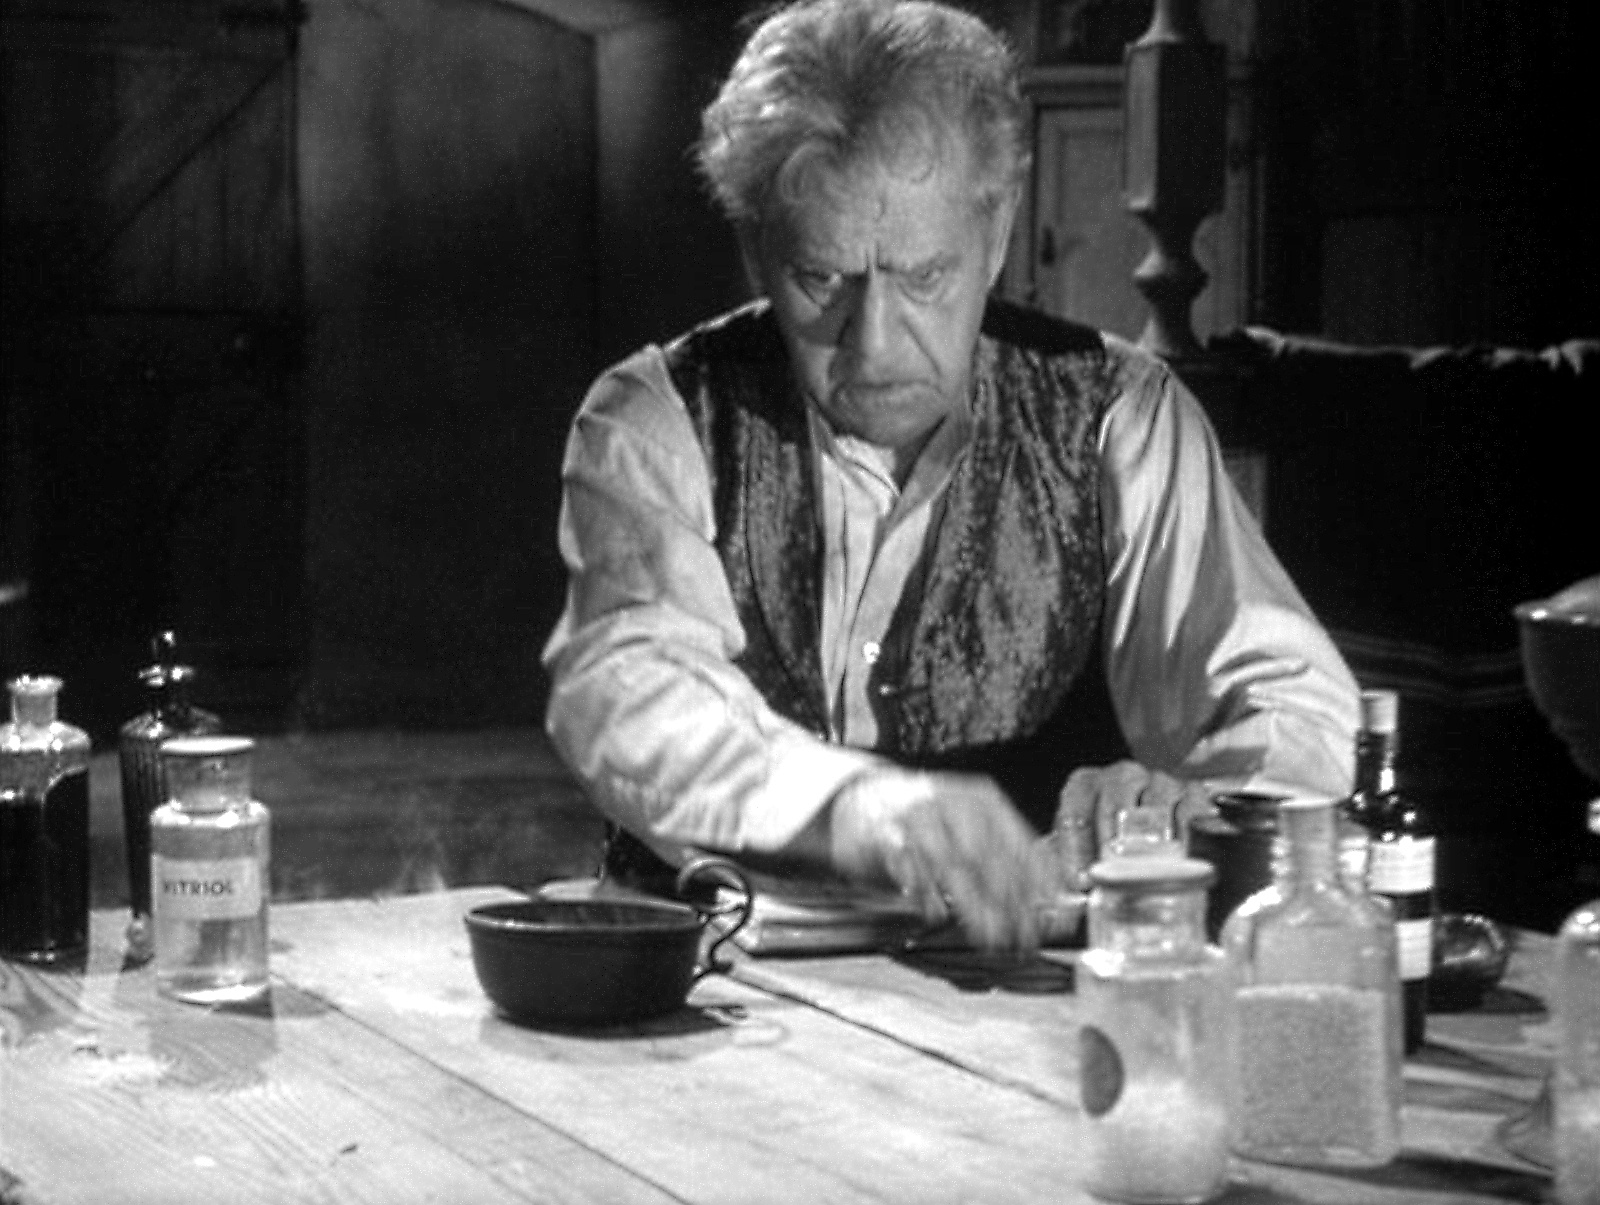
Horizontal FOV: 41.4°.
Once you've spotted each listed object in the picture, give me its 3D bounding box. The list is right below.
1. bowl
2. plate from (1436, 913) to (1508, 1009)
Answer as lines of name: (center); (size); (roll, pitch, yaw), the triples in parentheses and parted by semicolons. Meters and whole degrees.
bowl: (-0.163, 0.318, 2.028); (0.230, 0.111, 0.169); (0, -4, -8)
plate: (0.663, 0.355, 2.080); (0.108, 0.030, 0.060); (-20, 19, -30)
